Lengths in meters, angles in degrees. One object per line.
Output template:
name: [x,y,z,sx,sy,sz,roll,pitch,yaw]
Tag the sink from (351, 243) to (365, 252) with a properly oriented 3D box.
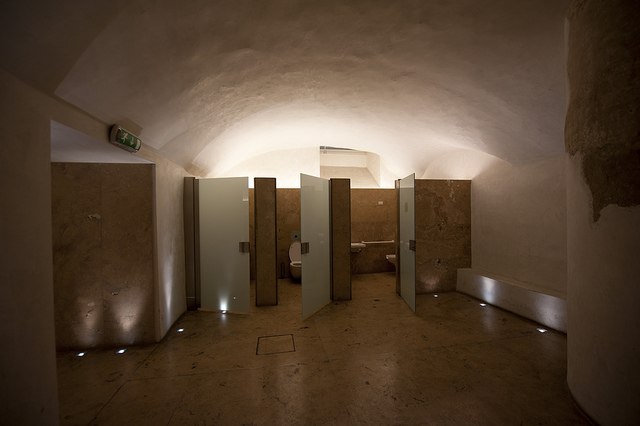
sink: [0.916,0.819,9.844,0.289,0.113,0.288,0,16,4]
